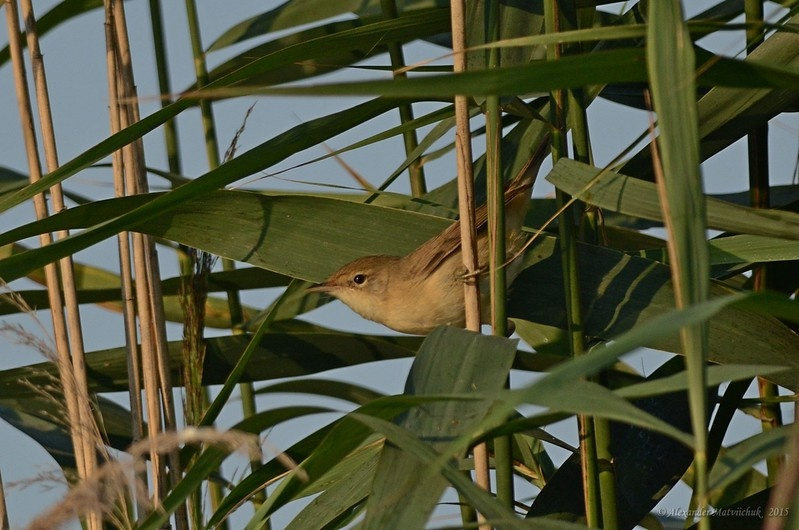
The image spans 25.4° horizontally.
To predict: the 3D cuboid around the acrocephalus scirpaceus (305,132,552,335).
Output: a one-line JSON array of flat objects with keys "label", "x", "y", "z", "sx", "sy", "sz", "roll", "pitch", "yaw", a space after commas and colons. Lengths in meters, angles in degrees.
[{"label": "acrocephalus scirpaceus", "x": 0.093, "y": -0.061, "z": 4.139, "sx": 0.220, "sy": 0.962, "sz": 0.506, "roll": 1, "pitch": -92, "yaw": 9}]
